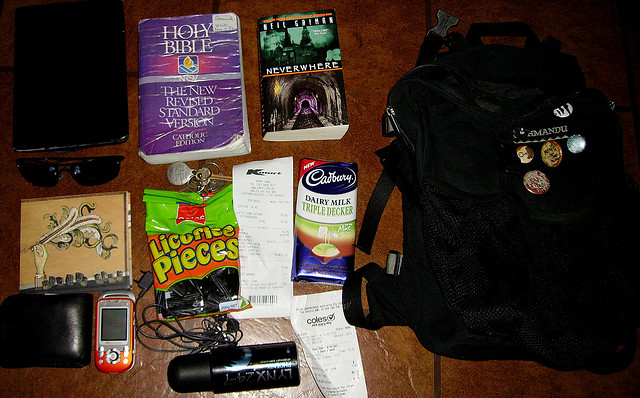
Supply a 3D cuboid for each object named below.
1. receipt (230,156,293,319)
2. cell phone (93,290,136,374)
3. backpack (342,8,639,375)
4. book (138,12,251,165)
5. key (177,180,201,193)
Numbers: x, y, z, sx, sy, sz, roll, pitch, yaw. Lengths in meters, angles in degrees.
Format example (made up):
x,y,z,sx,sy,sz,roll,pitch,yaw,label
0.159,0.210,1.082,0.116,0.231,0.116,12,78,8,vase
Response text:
x,y,z,sx,sy,sz,roll,pitch,yaw,label
-0.155,0.081,1.500,0.226,0.060,0.451,-3,83,28,receipt
-0.534,0.336,1.422,0.107,0.046,0.199,-1,90,0,cell phone
0.476,0.006,1.615,0.846,0.282,0.822,-2,84,3,backpack
-0.346,-0.290,1.491,0.296,0.091,0.385,-5,81,-1,book
-0.352,-0.037,1.467,0.053,0.012,0.029,-26,39,-6,key
